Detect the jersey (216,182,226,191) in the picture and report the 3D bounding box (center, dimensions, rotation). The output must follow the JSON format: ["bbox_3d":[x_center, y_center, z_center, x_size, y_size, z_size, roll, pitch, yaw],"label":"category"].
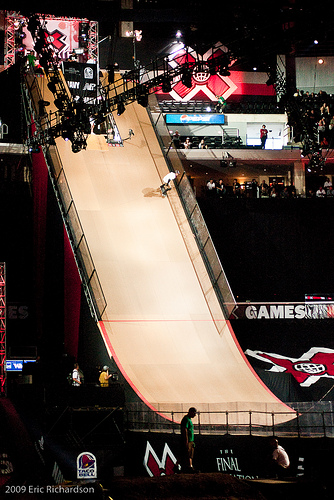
[{"bbox_3d":[1.853,-2.225,27.597,0.106,0.346,0.369,-9,-15,39],"label":"jersey"}]

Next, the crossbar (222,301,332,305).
[{"bbox_3d":[3.378,1.612,23.886,2.934,0.058,0.125,1,0,0],"label":"crossbar"}]

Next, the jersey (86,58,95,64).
[{"bbox_3d":[-2.623,-6.553,27.933,0.225,0.211,0.060,-7,-3,-26],"label":"jersey"}]

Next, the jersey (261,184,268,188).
[{"bbox_3d":[3.376,-2.171,27.400,0.167,0.095,0.317,5,18,20],"label":"jersey"}]

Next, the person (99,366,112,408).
[{"bbox_3d":[-1.467,3.371,19.376,0.248,0.776,0.294,-10,-34,-6],"label":"person"}]

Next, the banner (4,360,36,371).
[{"bbox_3d":[-4.214,3.329,22.972,0.740,0.267,0.339,-3,17,-5],"label":"banner"}]

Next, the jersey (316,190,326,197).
[{"bbox_3d":[5.235,-1.877,26.914,0.348,0.316,0.084,2,1,9],"label":"jersey"}]

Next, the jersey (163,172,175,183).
[{"bbox_3d":[0.103,-2.177,24.281,0.301,0.082,0.219,-27,-23,23],"label":"jersey"}]

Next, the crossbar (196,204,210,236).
[{"bbox_3d":[1.133,-0.838,24.086,0.070,1.092,0.075,-19,-8,-28],"label":"crossbar"}]

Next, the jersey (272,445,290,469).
[{"bbox_3d":[2.100,3.803,14.612,0.250,0.343,0.121,7,-25,-28],"label":"jersey"}]

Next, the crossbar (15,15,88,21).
[{"bbox_3d":[-3.967,-8.107,28.089,2.458,0.262,0.309,-4,17,-9],"label":"crossbar"}]

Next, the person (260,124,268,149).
[{"bbox_3d":[3.741,-4.267,30.479,0.232,0.908,0.312,0,17,4],"label":"person"}]

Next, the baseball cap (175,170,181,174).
[{"bbox_3d":[0.369,-2.364,24.583,0.199,0.093,0.069,13,23,39],"label":"baseball cap"}]

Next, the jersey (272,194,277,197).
[{"bbox_3d":[3.738,-1.840,27.481,0.141,0.157,0.182,-1,-25,7],"label":"jersey"}]
